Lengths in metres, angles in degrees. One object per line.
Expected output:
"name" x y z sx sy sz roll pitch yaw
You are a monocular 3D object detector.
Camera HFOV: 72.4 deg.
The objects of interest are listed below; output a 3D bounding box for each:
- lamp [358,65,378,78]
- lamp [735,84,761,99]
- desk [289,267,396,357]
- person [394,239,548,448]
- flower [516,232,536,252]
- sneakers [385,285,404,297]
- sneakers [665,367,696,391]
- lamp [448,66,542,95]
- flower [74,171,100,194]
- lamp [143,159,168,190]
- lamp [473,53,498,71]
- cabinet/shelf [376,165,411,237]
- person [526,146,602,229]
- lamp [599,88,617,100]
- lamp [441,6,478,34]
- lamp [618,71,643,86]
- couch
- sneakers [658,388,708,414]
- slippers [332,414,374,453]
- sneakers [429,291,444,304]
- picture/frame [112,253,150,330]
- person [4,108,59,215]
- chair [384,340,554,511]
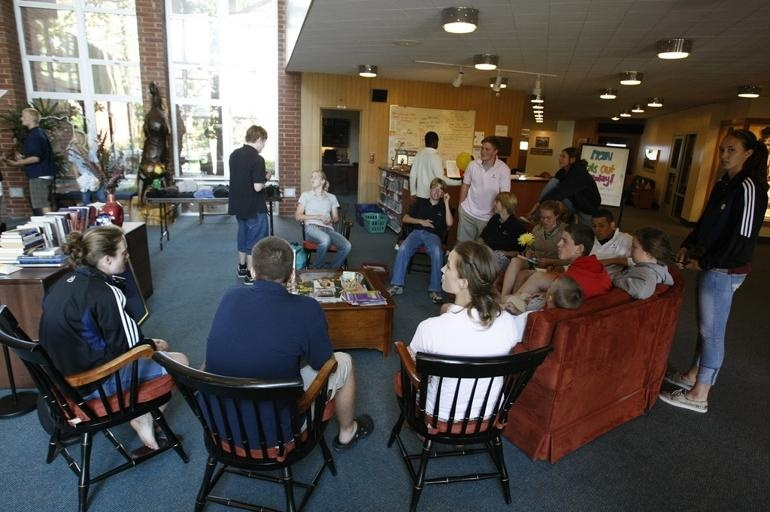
"lamp" -0.301 -3.053 8.708 0.296 0.154 0.298 16 21 36
"lamp" 5.686 -2.555 8.301 0.360 0.131 0.370 1 3 18
"desk" -0.258 0.432 5.281 0.739 0.489 0.929 -1 22 -4
"person" 0.515 0.557 3.557 0.777 1.267 0.476 3 17 3
"flower" 1.550 -0.160 5.806 0.187 0.191 0.127 20 8 41
"sneakers" 0.121 0.406 6.193 0.178 0.119 0.092 5 -1 -36
"sneakers" 2.709 1.113 4.807 0.111 0.108 0.300 -5 9 -20
"lamp" 1.912 -2.914 8.841 1.416 0.358 2.473 5 17 10
"flower" -4.496 -1.131 8.095 0.524 0.294 0.173 13 20 31
"lamp" -3.824 -1.373 8.810 0.396 0.539 0.229 6 -2 -21
"lamp" 1.379 -2.649 7.192 0.312 0.165 0.358 4 17 6
"cabinet/shelf" 0.171 -0.925 9.025 0.610 1.269 1.439 2 8 -8
"person" 2.321 -0.760 6.648 0.851 1.111 0.522 9 16 6
"lamp" 3.989 -2.880 9.446 0.330 0.147 0.329 -2 14 -1
"lamp" 0.765 -2.381 5.306 0.346 0.207 0.252 14 21 34
"lamp" 3.564 -2.567 7.700 0.277 0.119 0.333 0 8 4
"couch" 1.523 0.873 4.505 1.617 1.076 1.280 -14 24 -23
"sneakers" 2.578 1.238 4.613 0.405 0.174 0.161 8 12 33
"slippers" -0.232 1.385 4.150 0.146 0.146 0.343 14 34 26
"sneakers" 0.610 0.483 6.080 0.075 0.138 0.203 -1 2 -16
"picture/frame" -2.126 0.302 4.425 0.075 0.728 0.417 -12 45 -26
"person" -5.391 -1.399 8.090 0.605 1.670 0.788 -13 23 -39
"chair" 0.452 0.974 4.025 1.063 1.617 1.196 -2 23 -10
